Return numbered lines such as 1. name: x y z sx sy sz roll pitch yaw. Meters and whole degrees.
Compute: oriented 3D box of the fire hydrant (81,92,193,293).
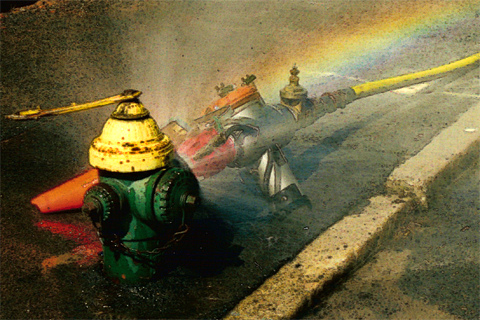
1. fire hydrant: -1.193 0.428 8.224 1.111 2.177 1.071 25 43 33
